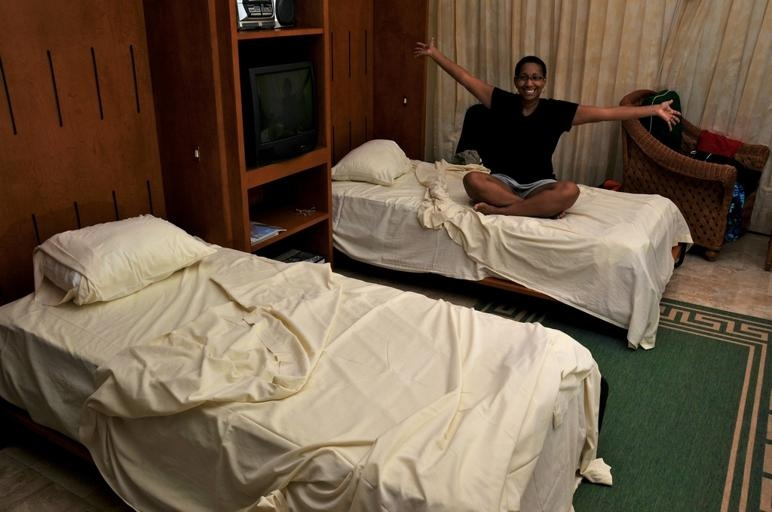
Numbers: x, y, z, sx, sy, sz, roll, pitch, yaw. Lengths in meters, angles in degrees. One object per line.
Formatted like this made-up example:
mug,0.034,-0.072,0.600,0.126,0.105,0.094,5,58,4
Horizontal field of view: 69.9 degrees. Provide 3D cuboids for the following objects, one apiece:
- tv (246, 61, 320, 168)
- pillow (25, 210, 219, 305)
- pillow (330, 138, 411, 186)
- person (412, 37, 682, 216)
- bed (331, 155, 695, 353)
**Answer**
tv,-0.684,-0.932,3.608,0.280,0.560,0.534,17,30,28
pillow,-1.372,-0.013,2.893,0.466,0.212,0.594,24,32,35
pillow,-0.067,-0.858,4.446,0.371,0.173,0.498,12,27,18
person,1.084,-0.892,4.078,1.873,1.217,0.958,12,16,21
bed,0.895,-0.024,3.978,1.898,0.592,1.330,11,31,20
